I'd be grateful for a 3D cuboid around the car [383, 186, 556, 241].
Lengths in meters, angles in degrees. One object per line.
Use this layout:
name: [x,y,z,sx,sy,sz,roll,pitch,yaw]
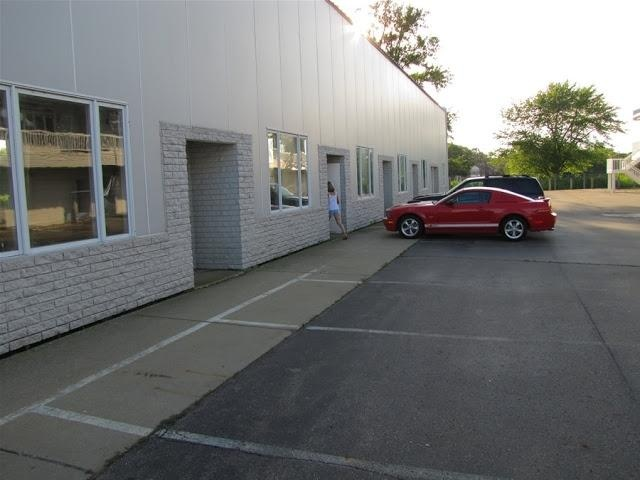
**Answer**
car: [4.724,-0.959,15.035,5.084,1.692,2.149,2,4,14]
